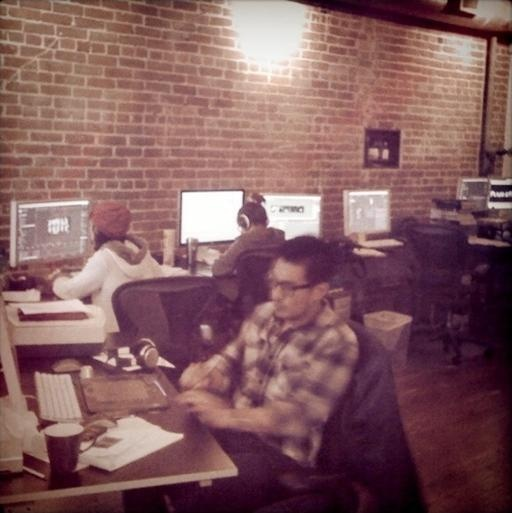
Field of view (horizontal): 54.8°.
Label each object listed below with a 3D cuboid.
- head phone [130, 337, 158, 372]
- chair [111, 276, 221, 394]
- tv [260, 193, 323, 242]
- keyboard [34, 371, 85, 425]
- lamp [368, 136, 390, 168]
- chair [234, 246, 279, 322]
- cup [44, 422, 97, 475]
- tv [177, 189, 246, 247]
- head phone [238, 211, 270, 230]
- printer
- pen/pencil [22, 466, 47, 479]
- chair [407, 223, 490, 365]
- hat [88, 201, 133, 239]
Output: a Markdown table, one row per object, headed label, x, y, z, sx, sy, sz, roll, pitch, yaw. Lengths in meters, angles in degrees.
| label | x | y | z | sx | sy | sz | roll | pitch | yaw |
| --- | --- | --- | --- | --- | --- | --- | --- | --- | --- |
| head phone | -0.354 | 0.311 | 1.572 | 0.054 | 0.070 | 0.111 | 20 | -14 | -38 |
| chair | -0.360 | 0.269 | 2.197 | 0.410 | 0.642 | 0.440 | -4 | 30 | -17 |
| tv | 0.249 | -0.191 | 3.510 | 0.425 | 0.460 | 0.252 | 1 | -17 | 12 |
| keyboard | -0.534 | 0.387 | 1.333 | 0.070 | 0.027 | 0.188 | 19 | 10 | -28 |
| lamp | 1.062 | -0.890 | 4.217 | 0.256 | 0.261 | 0.081 | -10 | 12 | -36 |
| chair | -0.013 | 0.121 | 2.438 | 0.215 | 0.412 | 0.266 | -5 | 23 | -13 |
| cup | -0.431 | 0.433 | 1.097 | 0.085 | 0.102 | 0.087 | 7 | -2 | 0 |
| tv | -0.292 | -0.239 | 3.079 | 0.326 | 0.276 | 0.012 | -4 | 7 | -29 |
| head phone | -0.044 | -0.216 | 2.980 | 0.135 | 0.082 | 0.108 | 1 | 3 | 20 |
| printer | -0.621 | 0.245 | 1.572 | 0.197 | 0.073 | 0.208 | 2 | 11 | -17 |
| pen/pencil | -0.490 | 0.479 | 1.088 | 0.084 | 0.005 | 0.012 | 10 | 25 | 40 |
| chair | 1.551 | 0.197 | 4.141 | 0.741 | 1.564 | 0.800 | 3 | 6 | 27 |
| hat | -0.698 | -0.202 | 2.379 | 0.136 | 0.168 | 0.184 | 8 | 20 | -12 |
